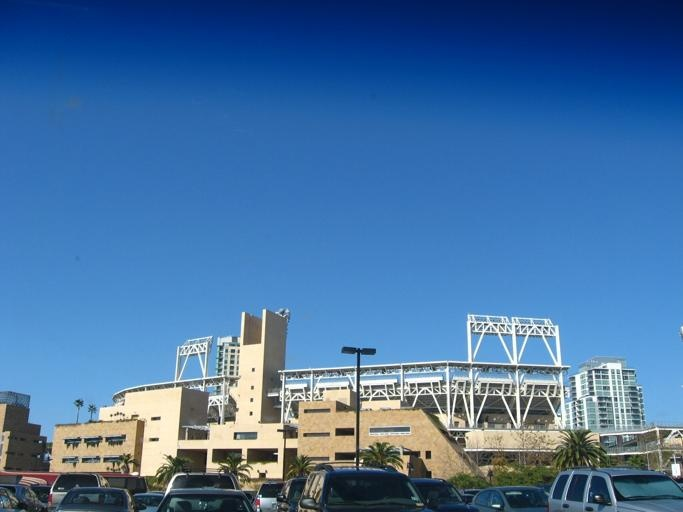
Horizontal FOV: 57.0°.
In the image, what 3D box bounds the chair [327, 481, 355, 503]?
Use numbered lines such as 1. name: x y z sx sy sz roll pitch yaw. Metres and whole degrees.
1. chair: -0.028 5.622 14.938 0.589 0.457 0.487 -1 -13 -1
